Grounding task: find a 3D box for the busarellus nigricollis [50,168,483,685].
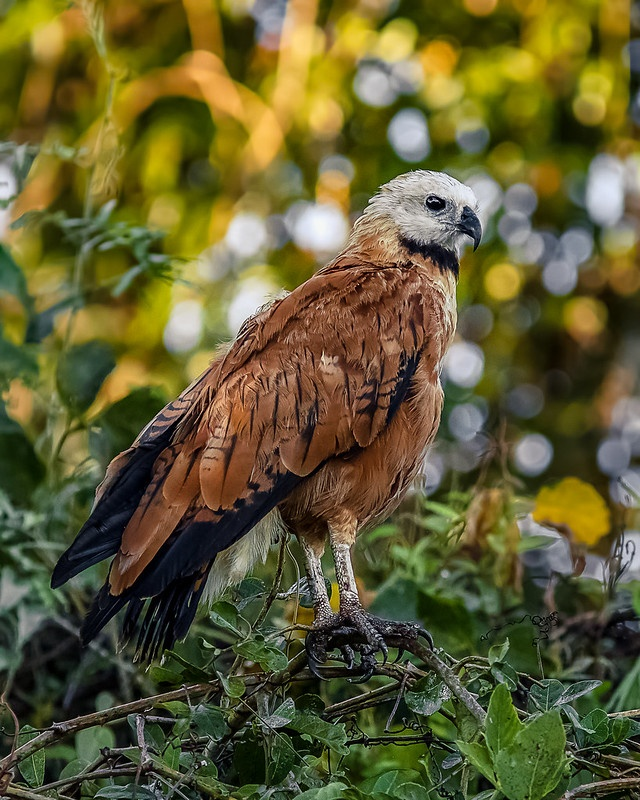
[{"bbox_3d":[-0.128,-0.009,3.406,1.047,1.441,1.115,-6,13,-32],"label":"busarellus nigricollis"}]
